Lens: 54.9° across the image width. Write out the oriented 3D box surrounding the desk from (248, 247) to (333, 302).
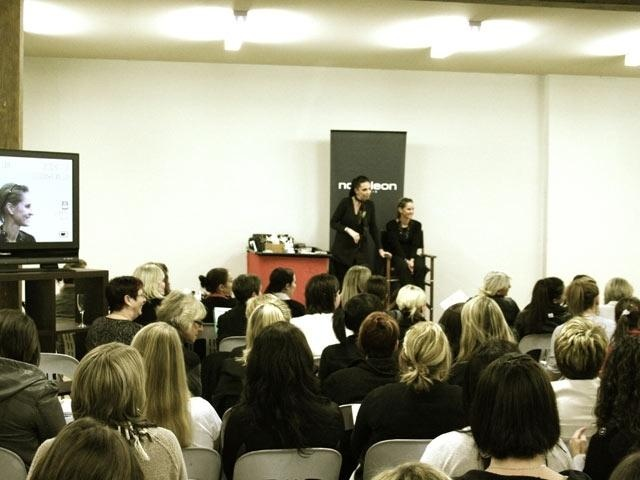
[{"bbox_3d":[-0.484,0.431,8.648,0.762,0.795,0.783,2,0,-18],"label":"desk"}]
